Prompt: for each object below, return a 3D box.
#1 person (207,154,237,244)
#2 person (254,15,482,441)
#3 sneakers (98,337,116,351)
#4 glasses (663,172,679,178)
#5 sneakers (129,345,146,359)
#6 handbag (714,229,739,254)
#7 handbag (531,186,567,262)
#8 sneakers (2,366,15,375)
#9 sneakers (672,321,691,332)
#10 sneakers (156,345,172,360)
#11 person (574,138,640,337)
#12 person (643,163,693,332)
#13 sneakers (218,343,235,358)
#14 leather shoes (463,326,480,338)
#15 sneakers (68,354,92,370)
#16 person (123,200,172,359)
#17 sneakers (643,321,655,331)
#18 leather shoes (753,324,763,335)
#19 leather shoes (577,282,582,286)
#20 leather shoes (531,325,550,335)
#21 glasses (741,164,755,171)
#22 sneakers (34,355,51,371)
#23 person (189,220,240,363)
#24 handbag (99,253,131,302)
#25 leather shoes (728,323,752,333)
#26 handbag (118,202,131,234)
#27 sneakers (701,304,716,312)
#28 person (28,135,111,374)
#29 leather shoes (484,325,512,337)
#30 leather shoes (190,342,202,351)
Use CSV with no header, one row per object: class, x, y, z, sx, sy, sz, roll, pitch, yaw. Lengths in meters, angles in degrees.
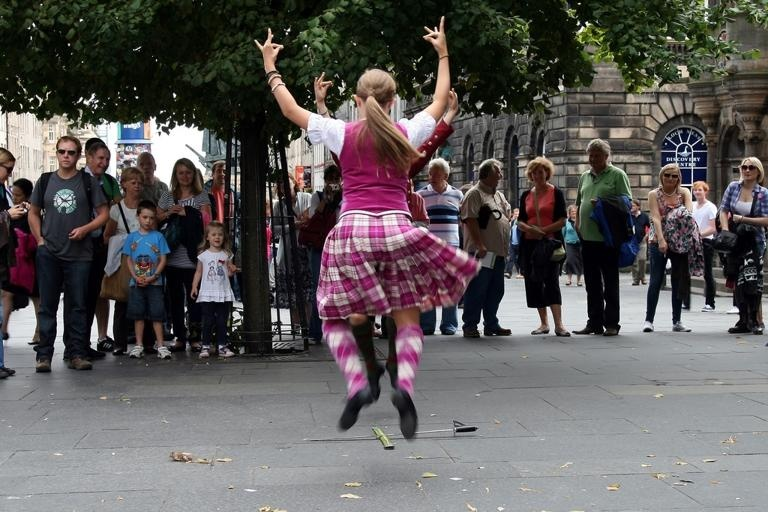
person,-2.360,-0.804,12.432,0.378,0.966,0.301,-6,40,-14
person,-0.040,-0.049,6.319,1.391,2.744,0.627,-3,0,5
sneakers,-3.644,1.155,11.517,0.284,0.110,0.121,-3,-2,33
glasses,4.293,-1.204,13.154,0.208,0.071,0.086,-3,0,-16
sneakers,-3.086,1.179,10.962,0.125,0.118,0.295,2,1,-19
handbag,5.013,-0.209,12.941,0.260,0.318,0.338,28,-27,-35
handbag,2.390,-0.432,12.644,0.426,1.039,0.227,-3,-1,-28
sneakers,-4.105,1.249,9.604,0.070,0.071,0.182,-1,2,7
sneakers,4.406,1.040,13.060,0.244,0.165,0.307,-3,0,17
sneakers,-2.719,1.179,10.839,0.101,0.112,0.265,-2,-2,-30
person,3.153,-0.296,12.755,0.717,2.862,0.865,-3,0,-12
person,4.254,-0.144,13.302,0.863,2.587,0.656,-3,0,-6
sneakers,-1.955,1.176,10.904,0.269,0.153,0.100,-1,2,21
leather shoes,1.264,1.105,12.795,0.118,0.097,0.250,3,-6,-38
sneakers,-3.439,1.210,9.970,0.128,0.108,0.270,3,-8,-43
person,-2.928,0.291,10.850,0.557,1.743,0.361,-3,-1,-11
sneakers,3.932,1.044,13.152,0.140,0.164,0.372,-3,0,16
leather shoes,5.402,1.063,12.727,0.094,0.082,0.208,1,5,13
leather shoes,5.356,0.761,24.188,0.101,0.090,0.266,-2,-5,5
leather shoes,2.335,1.103,13.123,0.332,0.115,0.111,2,-1,4
glasses,5.282,-1.290,12.838,0.207,0.084,0.154,-3,0,39
sneakers,-3.819,1.203,9.840,0.153,0.142,0.247,-3,0,-20
person,-2.120,0.403,10.905,0.535,1.527,0.271,-3,-1,-1
handbag,-3.309,0.249,10.843,0.568,0.684,0.256,11,5,43
leather shoes,5.156,1.048,12.817,0.341,0.135,0.167,-3,0,-3
handbag,-3.270,-0.464,11.031,0.049,0.439,0.064,-27,-14,-5
sneakers,5.883,0.938,16.136,0.115,0.124,0.314,-6,7,-43
person,-3.535,-0.026,9.895,0.828,2.307,0.469,-3,-1,-20
leather shoes,1.668,1.107,13.079,0.452,0.168,0.144,-4,-1,1
leather shoes,-2.442,1.175,11.417,0.132,0.084,0.097,3,-4,10
